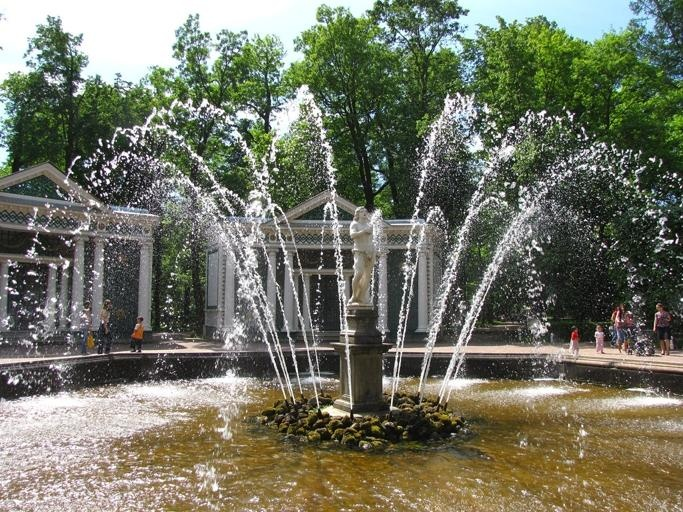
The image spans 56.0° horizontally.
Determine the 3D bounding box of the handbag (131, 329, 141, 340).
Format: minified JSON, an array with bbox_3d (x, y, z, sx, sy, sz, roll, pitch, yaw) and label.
[{"bbox_3d":[-7.806,2.994,24.550,0.294,0.433,0.509,-1,4,-11],"label":"handbag"}]
